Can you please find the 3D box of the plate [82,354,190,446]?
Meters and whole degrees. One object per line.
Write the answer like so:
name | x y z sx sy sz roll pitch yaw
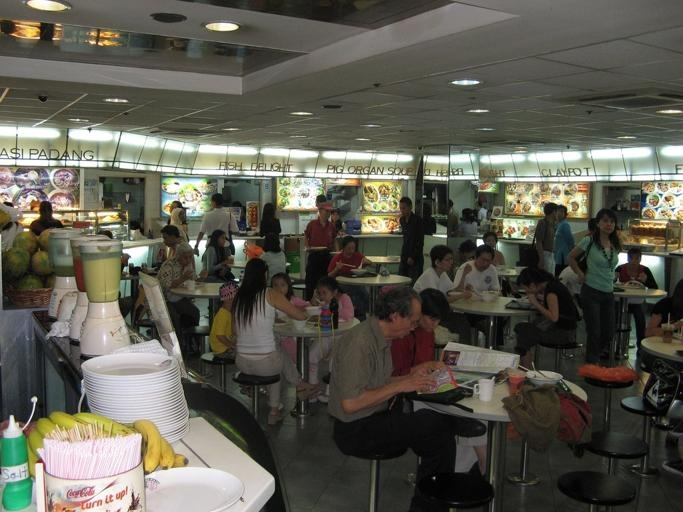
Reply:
plate | -0.629 0.424 1.686 0.343 0.177 0.304 0 -1 0

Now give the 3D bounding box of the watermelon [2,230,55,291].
watermelon | -1.976 0.022 3.475 0.292 0.416 0.332 -4 10 -35

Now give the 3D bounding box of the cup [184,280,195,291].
cup | -1.978 0.388 6.980 0.149 0.115 0.242 1 0 -15

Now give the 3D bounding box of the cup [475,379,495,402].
cup | 0.873 0.809 3.257 0.104 0.139 0.169 0 5 12

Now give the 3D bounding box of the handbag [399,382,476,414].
handbag | 0.578 0.873 3.213 0.400 0.106 0.316 0 4 11

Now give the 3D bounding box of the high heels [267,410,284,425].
high heels | -0.655 1.623 5.335 0.097 0.085 0.227 1 -4 9

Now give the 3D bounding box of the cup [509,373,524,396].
cup | 1.076 0.798 3.263 0.086 0.126 0.068 0 5 7
